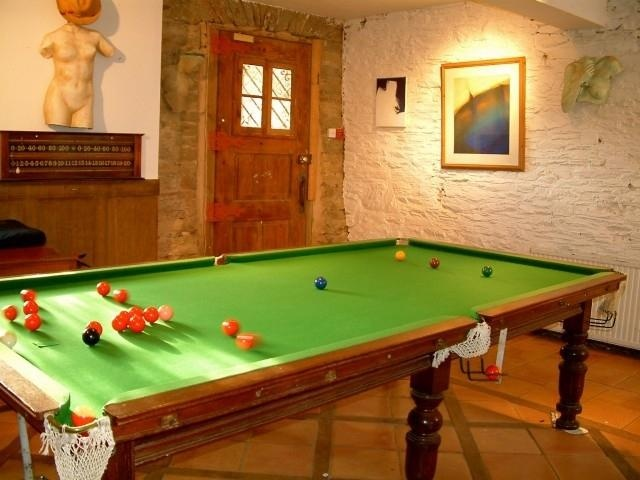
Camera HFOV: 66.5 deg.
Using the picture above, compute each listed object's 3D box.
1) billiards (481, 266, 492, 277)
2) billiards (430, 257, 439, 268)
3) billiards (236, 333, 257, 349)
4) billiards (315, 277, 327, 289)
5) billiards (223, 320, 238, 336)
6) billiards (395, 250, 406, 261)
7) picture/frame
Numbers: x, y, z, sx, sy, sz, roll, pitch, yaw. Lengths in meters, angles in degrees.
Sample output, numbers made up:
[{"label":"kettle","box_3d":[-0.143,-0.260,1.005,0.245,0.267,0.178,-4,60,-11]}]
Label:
[{"label":"billiards","box_3d":[0.992,0.186,2.943,0.060,0.062,0.058,-2,2,4]},{"label":"billiards","box_3d":[0.715,0.142,3.097,0.062,0.066,0.057,-8,-39,29]},{"label":"billiards","box_3d":[-0.257,0.357,1.723,0.075,0.045,0.048,1,11,-9]},{"label":"billiards","box_3d":[0.004,0.214,2.499,0.052,0.047,0.060,-5,13,1]},{"label":"billiards","box_3d":[-0.336,0.322,1.825,0.059,0.054,0.027,0,-1,3]},{"label":"billiards","box_3d":[0.534,0.104,3.277,0.065,0.060,0.061,3,-6,-1]},{"label":"picture/frame","box_3d":[1.731,-1.333,5.096,1.076,1.267,0.058,5,7,39]}]
